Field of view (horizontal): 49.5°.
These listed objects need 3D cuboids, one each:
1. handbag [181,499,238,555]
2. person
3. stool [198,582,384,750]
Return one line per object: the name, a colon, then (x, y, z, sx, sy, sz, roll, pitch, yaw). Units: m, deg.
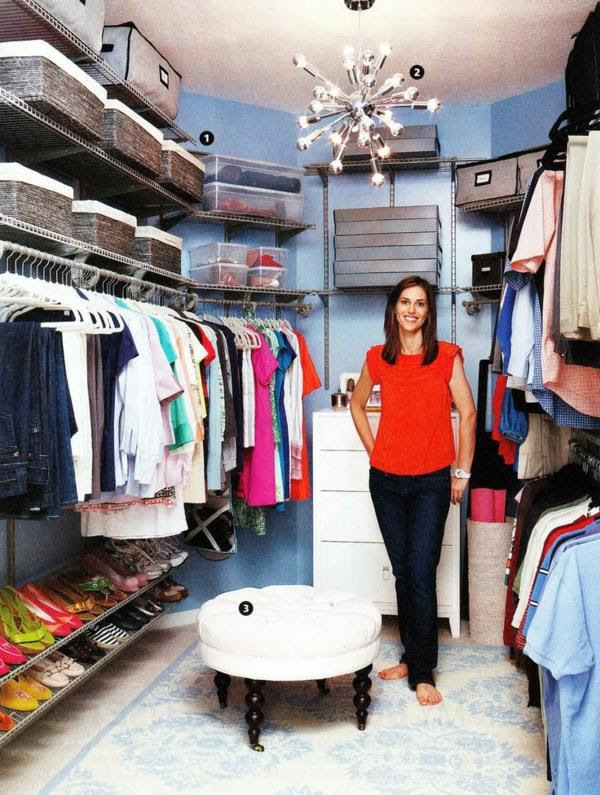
handbag: (-0.351, 0.591, 2.933, 0.234, 0.250, 0.265, -3, -15, 15)
person: (0.399, 0.306, 2.369, 0.470, 1.474, 0.305, -2, -4, 20)
stool: (-0.025, 0.718, 1.968, 0.476, 0.300, 0.470, -2, -9, 15)
